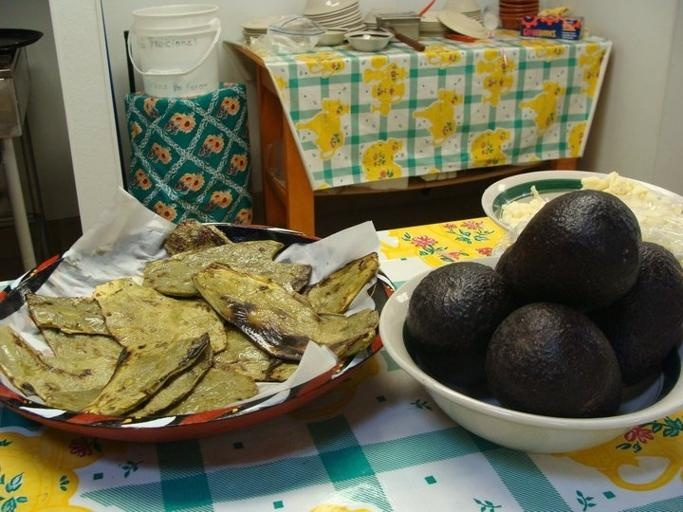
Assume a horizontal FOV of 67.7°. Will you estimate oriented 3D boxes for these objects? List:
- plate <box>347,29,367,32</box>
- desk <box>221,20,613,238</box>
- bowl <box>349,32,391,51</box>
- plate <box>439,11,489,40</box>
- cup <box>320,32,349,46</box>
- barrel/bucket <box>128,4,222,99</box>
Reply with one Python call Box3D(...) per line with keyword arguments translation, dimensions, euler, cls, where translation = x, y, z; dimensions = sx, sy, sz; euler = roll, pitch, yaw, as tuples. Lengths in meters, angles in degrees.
Box3D(translation=(0.056, -0.861, 1.939), dimensions=(0.053, 0.010, 0.051), euler=(2, 25, 9), cls="plate")
Box3D(translation=(0.379, -0.442, 2.446), dimensions=(1.545, 1.263, 0.905), euler=(-10, 34, -7), cls="desk")
Box3D(translation=(0.096, -0.779, 1.842), dimensions=(0.163, 0.058, 0.153), euler=(0, 28, 0), cls="bowl")
Box3D(translation=(0.482, -0.911, 2.055), dimensions=(0.161, 0.036, 0.145), euler=(20, 50, -1), cls="plate")
Box3D(translation=(-0.029, -0.821, 1.912), dimensions=(0.127, 0.051, 0.042), euler=(-17, 34, -29), cls="cup")
Box3D(translation=(-0.551, -0.675, 1.690), dimensions=(0.305, 0.269, 0.167), euler=(-6, 31, -11), cls="barrel/bucket")
